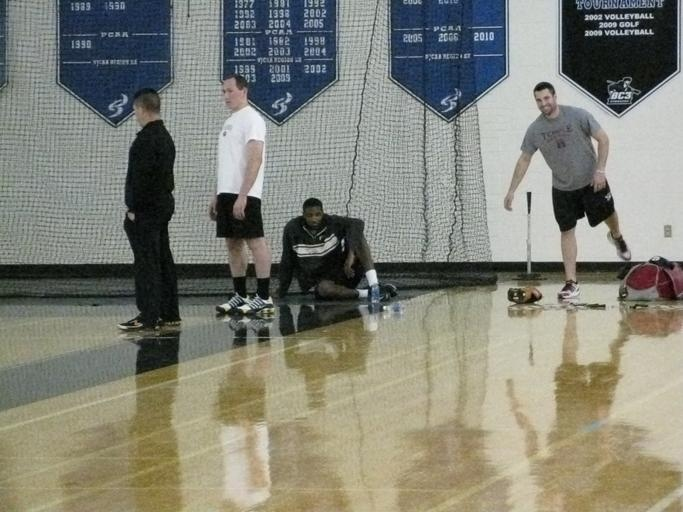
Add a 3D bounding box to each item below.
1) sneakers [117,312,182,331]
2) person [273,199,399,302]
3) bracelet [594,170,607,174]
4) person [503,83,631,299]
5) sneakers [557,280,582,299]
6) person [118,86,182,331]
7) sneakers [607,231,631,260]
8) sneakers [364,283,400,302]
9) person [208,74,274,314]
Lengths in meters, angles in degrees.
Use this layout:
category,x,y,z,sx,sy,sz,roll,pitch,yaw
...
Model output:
category,x,y,z,sx,sy,sz,roll,pitch,yaw
sneakers,-1.348,0.484,5.856,0.429,0.210,0.158,1,-2,-10
person,-0.066,-0.063,7.314,1.078,0.911,0.660,-3,11,25
bracelet,2.111,-0.685,6.773,0.034,0.032,0.078,-8,10,-37
person,1.979,-0.608,7.095,1.113,1.886,0.646,-13,17,-6
sneakers,1.889,0.291,6.894,0.146,0.152,0.312,2,9,25
person,-1.371,-0.321,5.824,0.281,1.681,0.501,3,8,33
sneakers,2.759,-0.087,8.264,0.104,0.286,0.112,-33,5,12
sneakers,0.354,0.323,7.168,0.115,0.149,0.306,4,-13,-42
person,-0.755,-0.449,6.331,0.395,1.844,0.504,-6,8,-34
